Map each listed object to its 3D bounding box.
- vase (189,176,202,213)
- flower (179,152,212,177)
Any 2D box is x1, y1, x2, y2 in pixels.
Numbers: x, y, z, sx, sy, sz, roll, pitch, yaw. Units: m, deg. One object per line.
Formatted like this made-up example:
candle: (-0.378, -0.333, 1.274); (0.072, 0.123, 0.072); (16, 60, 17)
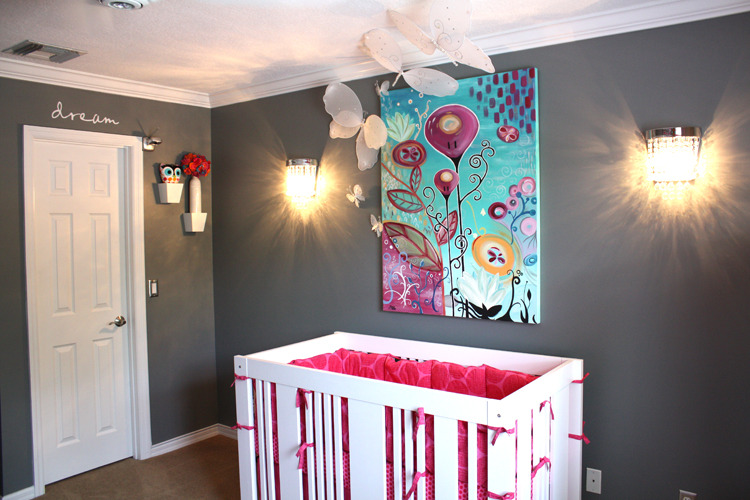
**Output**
vase: (-1.530, -0.474, 4.913); (0.085, 0.305, 0.198); (-1, 2, 6)
flower: (-1.523, -0.731, 4.905); (0.301, 0.218, 0.156); (-3, 3, -41)
